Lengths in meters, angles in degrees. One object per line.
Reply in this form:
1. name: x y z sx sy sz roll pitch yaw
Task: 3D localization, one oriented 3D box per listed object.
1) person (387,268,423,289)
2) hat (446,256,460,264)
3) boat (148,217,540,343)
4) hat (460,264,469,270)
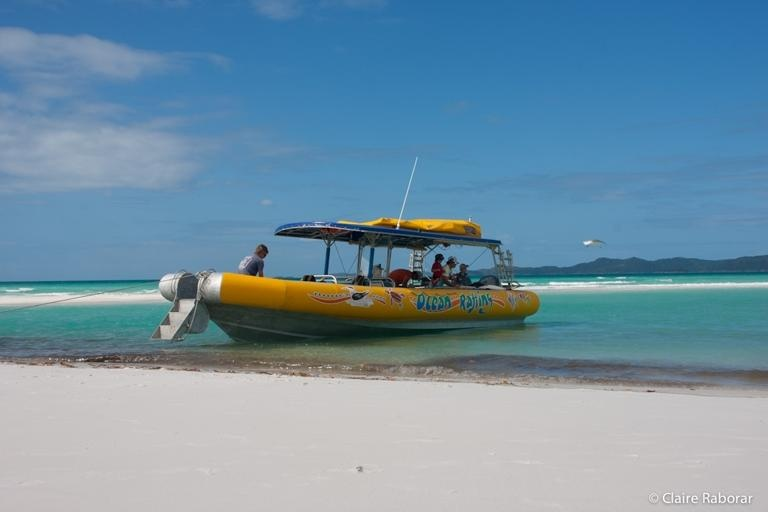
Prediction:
1. person: 0.462 0.494 16.513 0.552 0.255 0.728 3 -2 10
2. hat: 1.329 0.088 14.073 0.336 0.148 0.201 0 1 20
3. boat: -0.395 0.544 16.027 8.708 1.989 3.118 1 -1 -32
4. hat: 1.702 0.224 15.258 0.149 0.079 0.185 -3 -14 -10
